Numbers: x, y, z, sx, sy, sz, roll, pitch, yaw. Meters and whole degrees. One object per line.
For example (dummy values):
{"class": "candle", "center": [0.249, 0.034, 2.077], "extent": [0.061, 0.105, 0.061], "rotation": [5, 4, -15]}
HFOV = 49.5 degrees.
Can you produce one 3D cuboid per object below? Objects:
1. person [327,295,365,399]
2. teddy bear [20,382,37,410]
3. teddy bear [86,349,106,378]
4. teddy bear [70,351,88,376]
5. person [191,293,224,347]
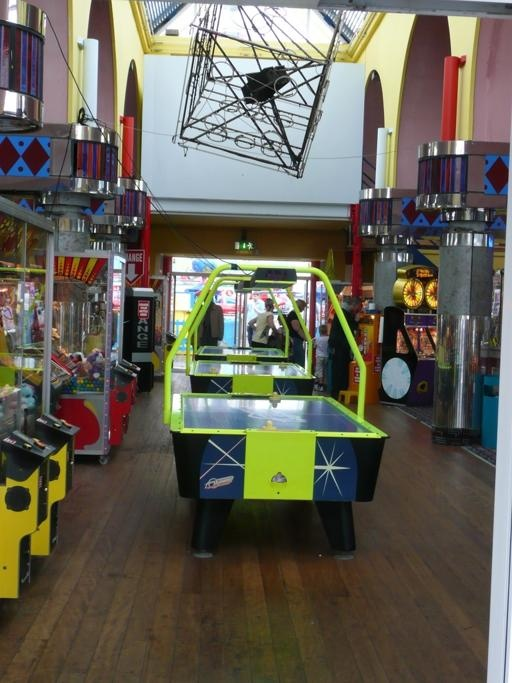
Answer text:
{"class": "person", "center": [1.332, 0.139, 8.276], "extent": [0.423, 1.642, 0.450], "rotation": [-3, 14, -38]}
{"class": "teddy bear", "center": [-1.038, 0.249, 2.586], "extent": [0.074, 0.113, 0.100], "rotation": [-3, 8, -9]}
{"class": "teddy bear", "center": [-1.397, 0.193, 4.818], "extent": [0.166, 0.215, 0.071], "rotation": [2, 0, 24]}
{"class": "teddy bear", "center": [-1.528, 0.202, 4.809], "extent": [0.132, 0.223, 0.182], "rotation": [1, -2, -23]}
{"class": "person", "center": [-0.895, -0.339, 10.938], "extent": [0.468, 0.928, 0.845], "rotation": [2, 0, -6]}
